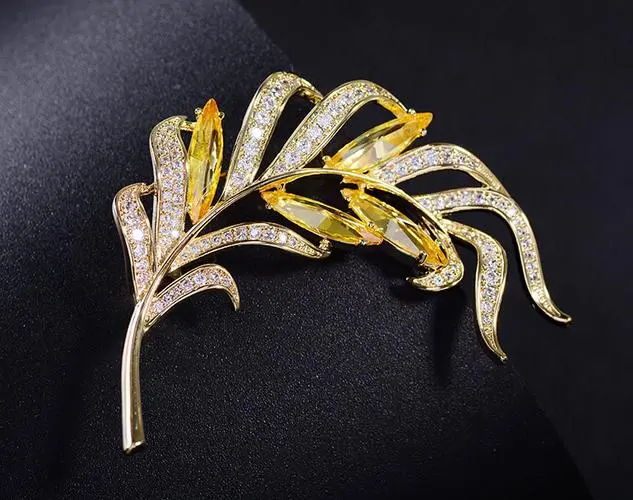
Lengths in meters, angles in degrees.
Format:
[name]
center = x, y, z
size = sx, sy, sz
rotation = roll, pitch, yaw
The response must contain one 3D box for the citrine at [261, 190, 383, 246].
[citrine]
center = 0.022, -0.095, 1.771
size = 0.190, 0.258, 0.106
rotation = -8, 102, -13
